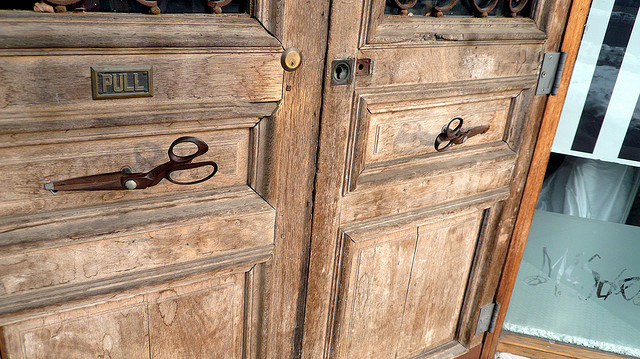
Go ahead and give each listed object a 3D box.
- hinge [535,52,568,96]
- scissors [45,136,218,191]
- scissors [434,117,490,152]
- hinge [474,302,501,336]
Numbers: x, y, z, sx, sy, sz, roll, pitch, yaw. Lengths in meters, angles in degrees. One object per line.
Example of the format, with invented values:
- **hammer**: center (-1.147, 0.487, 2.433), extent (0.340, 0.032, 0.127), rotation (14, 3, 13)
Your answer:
- **hinge**: center (0.931, -0.430, 1.584), extent (0.159, 0.158, 0.047), rotation (-5, 32, -19)
- **scissors**: center (-0.537, -0.040, 1.111), extent (0.451, 0.152, 0.074), rotation (-5, 24, -17)
- **scissors**: center (0.530, -0.168, 1.480), extent (0.221, 0.137, 0.056), rotation (-8, 25, -22)
- **hinge**: center (0.795, 0.675, 1.864), extent (0.130, 0.177, 0.030), rotation (-10, 26, -25)
